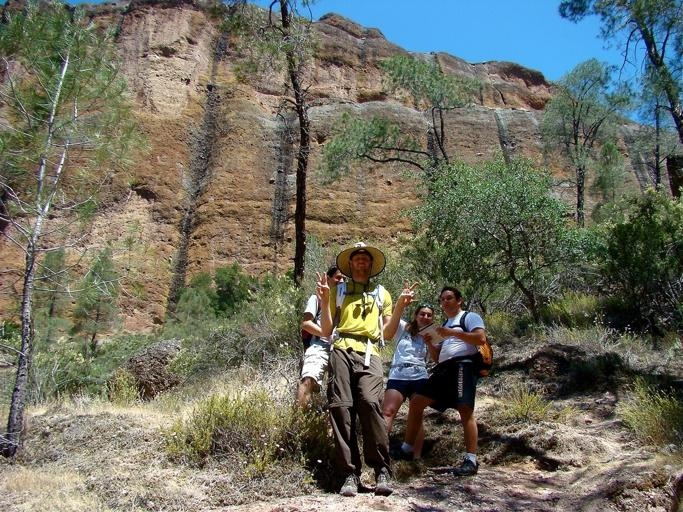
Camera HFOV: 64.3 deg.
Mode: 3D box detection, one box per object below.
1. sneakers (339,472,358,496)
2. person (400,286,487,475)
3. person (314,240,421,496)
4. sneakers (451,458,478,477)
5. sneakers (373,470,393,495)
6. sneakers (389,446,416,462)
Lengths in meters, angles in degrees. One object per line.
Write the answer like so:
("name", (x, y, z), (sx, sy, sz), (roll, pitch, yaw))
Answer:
("sneakers", (0.105, 2.521, 5.953), (0.235, 0.217, 0.165), (6, -14, -20))
("person", (1.316, 1.570, 7.170), (1.036, 2.490, 0.971), (-10, -38, 30))
("person", (0.280, 1.245, 6.499), (1.102, 3.006, 1.013), (0, -21, 5))
("sneakers", (1.472, 2.627, 6.687), (0.359, 0.187, 0.144), (10, -24, -29))
("sneakers", (0.455, 2.509, 5.976), (0.205, 0.261, 0.176), (0, -13, 3))
("sneakers", (0.768, 2.624, 7.200), (0.375, 0.181, 0.141), (18, -16, -18))
